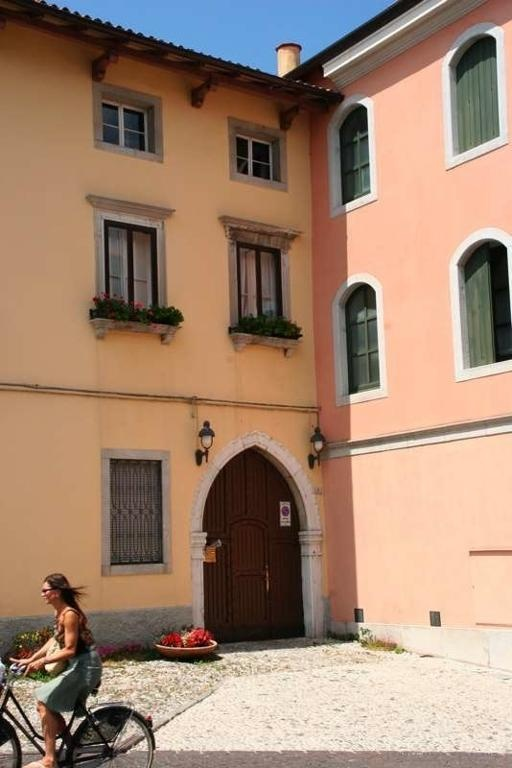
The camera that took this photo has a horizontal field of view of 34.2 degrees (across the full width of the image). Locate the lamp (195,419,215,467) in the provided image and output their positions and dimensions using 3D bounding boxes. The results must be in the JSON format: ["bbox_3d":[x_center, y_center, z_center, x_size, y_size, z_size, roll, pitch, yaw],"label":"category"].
[{"bbox_3d":[-0.732,0.857,11.991,0.283,0.629,0.493,1,-11,-4],"label":"lamp"}]

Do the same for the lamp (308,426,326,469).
[{"bbox_3d":[0.984,0.993,13.104,0.252,0.652,0.405,2,-11,-12],"label":"lamp"}]

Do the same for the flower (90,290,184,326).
[{"bbox_3d":[-1.616,-0.985,11.628,1.605,0.564,0.416,4,-10,-36],"label":"flower"}]
